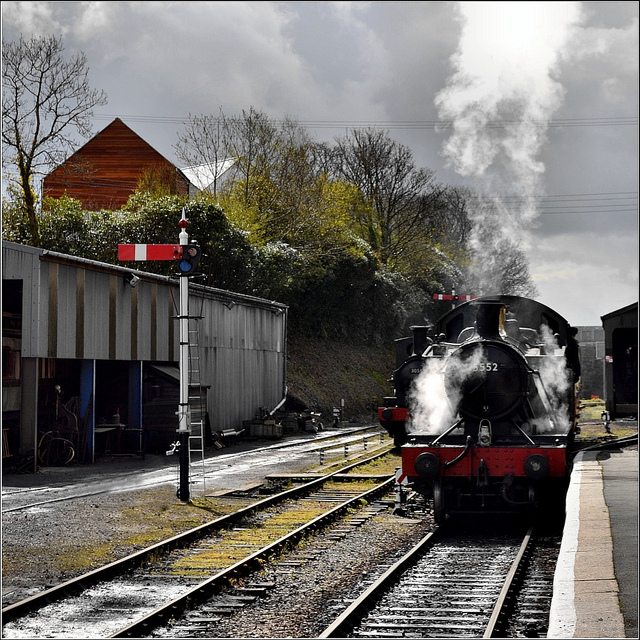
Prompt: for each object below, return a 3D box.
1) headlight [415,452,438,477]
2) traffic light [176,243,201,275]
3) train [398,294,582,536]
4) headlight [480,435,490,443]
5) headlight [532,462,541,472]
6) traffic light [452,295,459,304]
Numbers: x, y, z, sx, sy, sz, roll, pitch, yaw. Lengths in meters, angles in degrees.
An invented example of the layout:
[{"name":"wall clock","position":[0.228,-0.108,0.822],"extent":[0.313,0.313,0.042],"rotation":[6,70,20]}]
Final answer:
[{"name":"headlight","position":[1.430,1.921,10.833],"extent":[0.232,0.255,0.080],"rotation":[-16,4,17]},{"name":"traffic light","position":[-2.157,-0.968,13.151],"extent":[0.392,0.465,0.316],"rotation":[7,1,21]},{"name":"train","position":[3.211,1.312,13.742],"extent":[2.425,3.570,6.439],"rotation":[-1,-2,20]},{"name":"headlight","position":[2.227,1.588,10.903],"extent":[0.109,0.103,0.030],"rotation":[7,1,2]},{"name":"headlight","position":[2.814,1.892,10.497],"extent":[0.070,0.105,0.029],"rotation":[-8,-9,15]},{"name":"traffic light","position":[2.839,-0.435,16.913],"extent":[0.162,0.182,0.048],"rotation":[2,-35,6]}]
